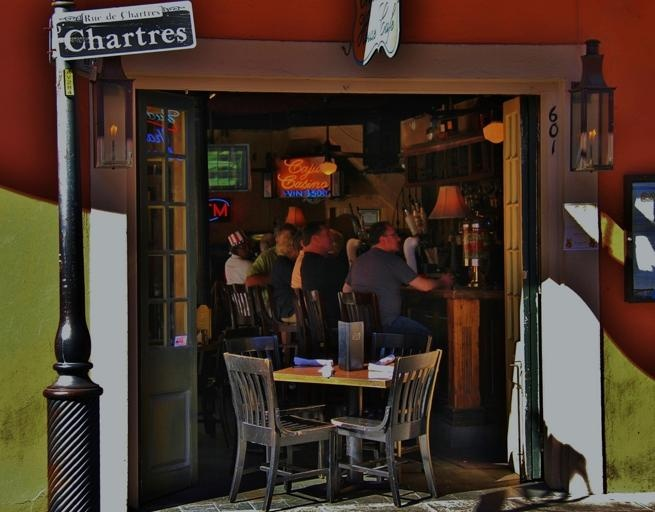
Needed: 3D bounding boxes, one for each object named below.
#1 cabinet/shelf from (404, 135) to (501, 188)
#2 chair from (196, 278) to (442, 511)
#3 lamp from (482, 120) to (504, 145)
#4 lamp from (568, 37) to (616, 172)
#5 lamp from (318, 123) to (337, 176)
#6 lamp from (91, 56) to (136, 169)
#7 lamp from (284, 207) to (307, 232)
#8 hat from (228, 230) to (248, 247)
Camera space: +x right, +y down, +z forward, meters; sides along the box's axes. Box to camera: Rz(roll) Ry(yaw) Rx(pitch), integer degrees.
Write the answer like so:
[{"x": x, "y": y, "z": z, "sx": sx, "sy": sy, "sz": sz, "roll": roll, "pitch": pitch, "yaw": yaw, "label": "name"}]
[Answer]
[{"x": 1.320, "y": -1.010, "z": 10.573, "sx": 0.243, "sy": 0.602, "sz": 2.359, "roll": -3, "pitch": 8, "yaw": -15, "label": "cabinet/shelf"}, {"x": -0.099, "y": 1.196, "z": 7.391, "sx": 1.647, "sy": 1.333, "sz": 1.026, "roll": -4, "pitch": -5, "yaw": 34, "label": "chair"}, {"x": 1.582, "y": -1.178, "z": 9.243, "sx": 0.139, "sy": 0.195, "sz": 0.289, "roll": -2, "pitch": 7, "yaw": -2, "label": "lamp"}, {"x": 1.902, "y": -1.077, "z": 6.963, "sx": 0.305, "sy": 0.947, "sz": 0.430, "roll": 0, "pitch": 6, "yaw": 15, "label": "lamp"}, {"x": 0.002, "y": -1.456, "z": 14.361, "sx": 0.241, "sy": 0.539, "sz": 0.405, "roll": -2, "pitch": 7, "yaw": -1, "label": "lamp"}, {"x": -1.445, "y": -0.959, "z": 6.498, "sx": 0.254, "sy": 0.725, "sz": 0.176, "roll": -3, "pitch": 6, "yaw": -11, "label": "lamp"}, {"x": -0.486, "y": -0.561, "z": 14.513, "sx": 0.377, "sy": 0.596, "sz": 0.417, "roll": 0, "pitch": 7, "yaw": -4, "label": "lamp"}, {"x": -1.164, "y": -0.209, "z": 12.328, "sx": 0.218, "sy": 0.225, "sz": 0.276, "roll": -3, "pitch": 9, "yaw": 2, "label": "hat"}]
